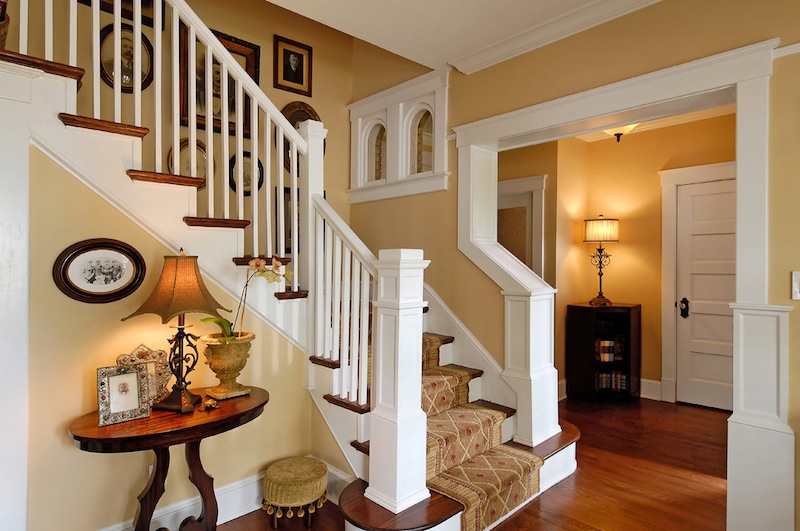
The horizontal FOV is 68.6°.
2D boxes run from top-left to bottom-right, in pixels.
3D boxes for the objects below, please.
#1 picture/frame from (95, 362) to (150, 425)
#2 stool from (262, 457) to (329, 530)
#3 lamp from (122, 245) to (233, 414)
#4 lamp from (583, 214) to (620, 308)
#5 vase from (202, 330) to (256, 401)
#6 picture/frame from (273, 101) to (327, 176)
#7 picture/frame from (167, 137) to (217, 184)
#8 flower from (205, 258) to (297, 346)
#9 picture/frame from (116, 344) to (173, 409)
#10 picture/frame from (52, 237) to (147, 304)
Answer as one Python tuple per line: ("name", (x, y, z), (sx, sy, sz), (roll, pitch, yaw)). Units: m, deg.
("picture/frame", (-1.776, 0.831, 3.766), (0.356, 0.420, 0.041), (-1, -7, -42))
("stool", (-0.790, 1.599, 4.286), (0.443, 0.343, 0.430), (4, 5, 33))
("lamp", (-1.480, 0.441, 4.031), (0.670, 1.018, 0.594), (2, 3, 30))
("lamp", (2.279, -0.083, 6.631), (0.377, 1.003, 0.655), (-1, 2, 19))
("vase", (-1.214, 0.704, 4.156), (0.389, 0.409, 0.358), (1, 0, -34))
("picture/frame", (-0.903, -1.223, 5.532), (0.425, 0.771, 0.819), (-2, 2, -8))
("picture/frame", (-1.761, -0.935, 4.840), (0.391, 0.355, 0.737), (-2, 2, -12))
("flower", (-1.182, 0.266, 4.379), (0.470, 0.669, 0.356), (8, -9, 26))
("picture/frame", (-1.711, 0.749, 3.906), (0.035, 0.477, 0.405), (-8, -5, 35))
("picture/frame", (-2.047, 0.042, 4.016), (0.537, 0.541, 0.104), (-9, -38, -31))
